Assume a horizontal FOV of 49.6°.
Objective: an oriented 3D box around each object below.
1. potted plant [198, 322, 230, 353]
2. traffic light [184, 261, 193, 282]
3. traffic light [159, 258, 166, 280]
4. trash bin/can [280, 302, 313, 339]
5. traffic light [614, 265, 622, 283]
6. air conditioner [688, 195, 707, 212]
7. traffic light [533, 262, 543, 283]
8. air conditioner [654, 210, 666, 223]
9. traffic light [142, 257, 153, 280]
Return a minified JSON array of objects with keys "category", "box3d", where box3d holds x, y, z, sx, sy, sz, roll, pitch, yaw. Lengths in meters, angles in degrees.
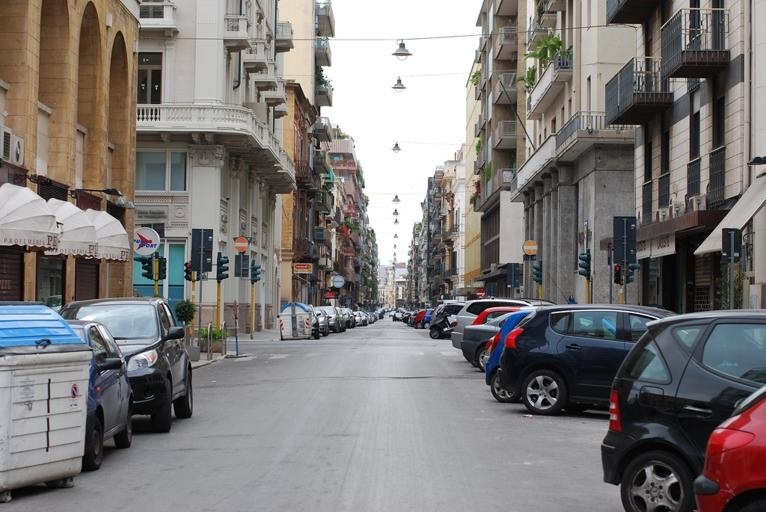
[{"category":"potted plant","box3d":[-6.484,3.254,32.010,1.209,1.087,1.046,3,3,-9]},{"category":"traffic light","box3d":[-7.256,0.618,31.304,0.213,0.735,1.335,-1,-5,-18]},{"category":"traffic light","box3d":[-7.647,0.400,29.021,0.174,0.725,0.851,-1,-4,-11]},{"category":"trash bin/can","box3d":[-4.802,3.782,47.071,1.559,2.342,2.313,-1,-3,0]},{"category":"traffic light","box3d":[7.375,0.566,25.962,0.231,0.595,0.755,-3,-4,17]},{"category":"air conditioner","box3d":[10.056,-1.691,26.655,0.431,0.715,0.658,3,-4,-18]},{"category":"traffic light","box3d":[7.089,0.753,37.772,0.317,1.026,1.266,-2,-4,6]},{"category":"air conditioner","box3d":[9.978,-1.422,29.665,0.317,0.668,0.428,1,-3,15]},{"category":"traffic light","box3d":[-8.166,0.428,29.034,0.347,0.739,1.281,-1,-5,-17]}]
